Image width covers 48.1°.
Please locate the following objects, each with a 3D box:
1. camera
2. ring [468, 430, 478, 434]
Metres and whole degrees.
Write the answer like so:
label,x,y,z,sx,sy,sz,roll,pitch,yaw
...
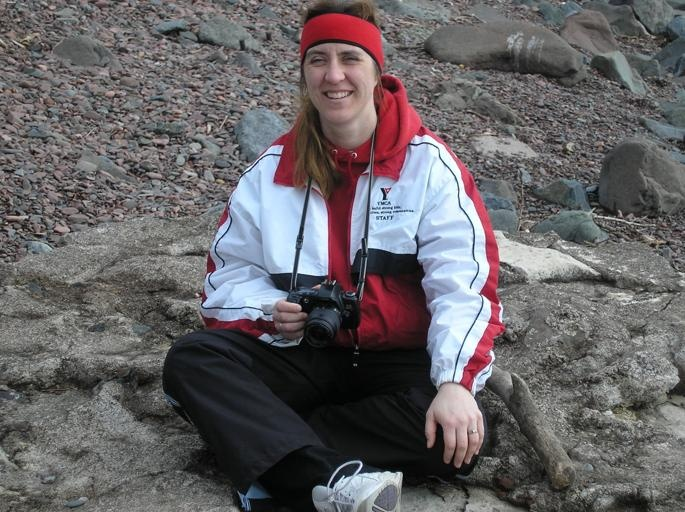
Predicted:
label,x,y,z,sx,sy,sz,roll,pitch,yaw
camera,-0.105,0.268,3.589,0.386,0.179,0.234,6,35,11
ring,0.576,0.782,3.401,0.028,0.007,0.023,-2,0,-1
